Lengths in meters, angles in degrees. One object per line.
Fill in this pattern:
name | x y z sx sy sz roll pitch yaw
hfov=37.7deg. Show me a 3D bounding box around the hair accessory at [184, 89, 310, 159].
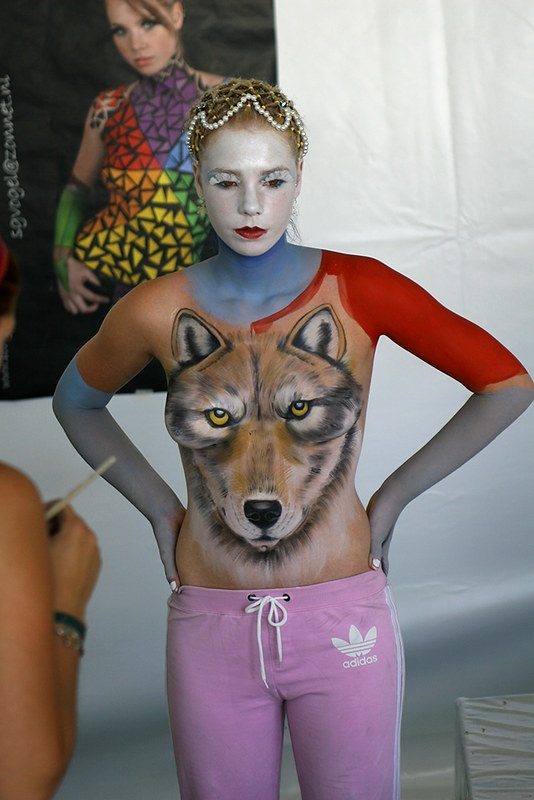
hair accessory | -0.029 -0.424 1.193 0.184 0.113 0.105 1 56 -6
